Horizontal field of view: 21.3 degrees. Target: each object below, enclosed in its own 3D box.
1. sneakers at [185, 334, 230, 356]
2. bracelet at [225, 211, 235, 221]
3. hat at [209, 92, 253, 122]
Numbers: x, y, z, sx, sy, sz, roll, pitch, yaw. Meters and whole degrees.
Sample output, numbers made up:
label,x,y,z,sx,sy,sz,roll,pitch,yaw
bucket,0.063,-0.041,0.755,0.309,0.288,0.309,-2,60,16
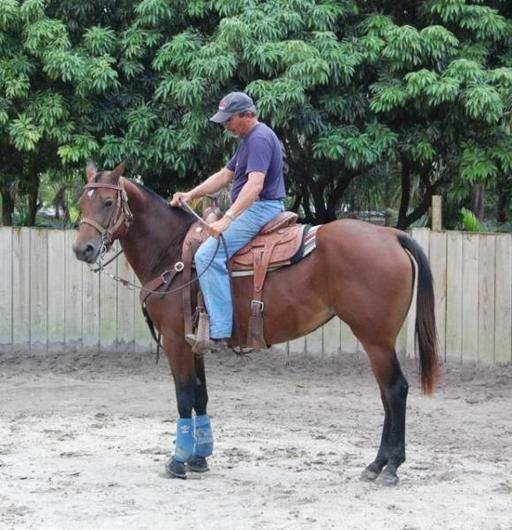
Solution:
label,x,y,z,sx,sy,sz,roll,pitch,yaw
sneakers,-0.490,0.816,13.894,0.339,0.166,0.213,11,2,-34
bracelet,-0.273,-0.493,13.717,0.079,0.061,0.090,21,-27,15
hat,-0.261,-1.589,14.047,0.375,0.265,0.265,-16,24,-11
